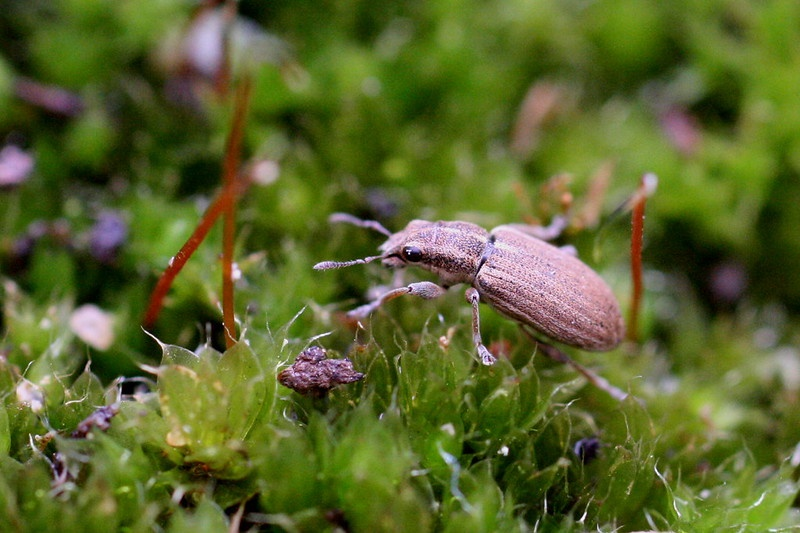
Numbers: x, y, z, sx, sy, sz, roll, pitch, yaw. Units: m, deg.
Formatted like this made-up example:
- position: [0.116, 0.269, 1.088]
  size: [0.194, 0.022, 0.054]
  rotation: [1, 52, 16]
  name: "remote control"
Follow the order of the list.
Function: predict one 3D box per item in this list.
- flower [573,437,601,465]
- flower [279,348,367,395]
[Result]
- position: [0.651, 0.645, 2.813]
  size: [0.105, 0.081, 0.069]
  rotation: [-4, 52, -10]
  name: "flower"
- position: [-0.245, 0.368, 2.588]
  size: [0.232, 0.100, 0.142]
  rotation: [8, 35, -16]
  name: "flower"
